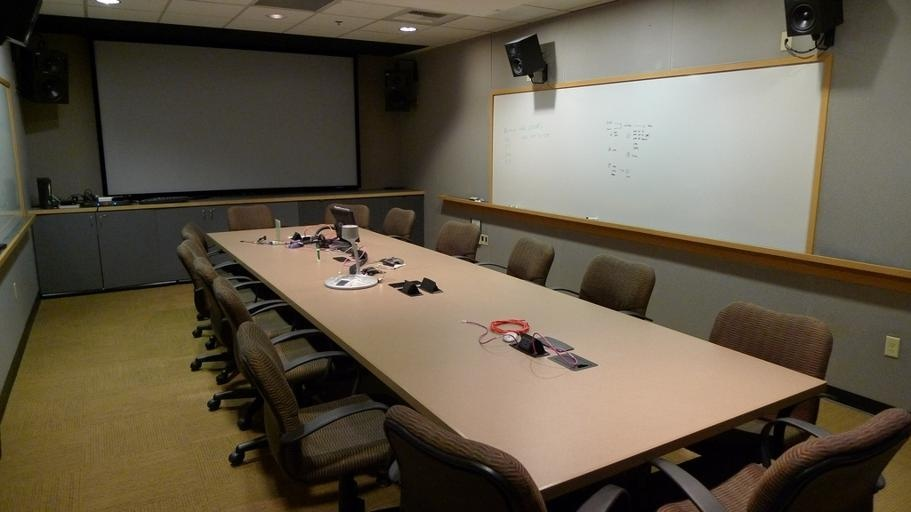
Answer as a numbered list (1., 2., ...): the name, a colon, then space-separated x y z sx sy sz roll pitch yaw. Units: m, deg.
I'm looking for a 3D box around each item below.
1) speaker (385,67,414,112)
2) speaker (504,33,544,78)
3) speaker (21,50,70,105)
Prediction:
1. speaker: -1.041 -2.859 10.025 0.537 0.728 0.553 -2 3 -11
2. speaker: 0.918 -2.649 7.476 0.397 0.426 0.413 5 34 37
3. speaker: -5.697 -2.499 8.027 0.439 0.678 0.482 -6 9 -32
